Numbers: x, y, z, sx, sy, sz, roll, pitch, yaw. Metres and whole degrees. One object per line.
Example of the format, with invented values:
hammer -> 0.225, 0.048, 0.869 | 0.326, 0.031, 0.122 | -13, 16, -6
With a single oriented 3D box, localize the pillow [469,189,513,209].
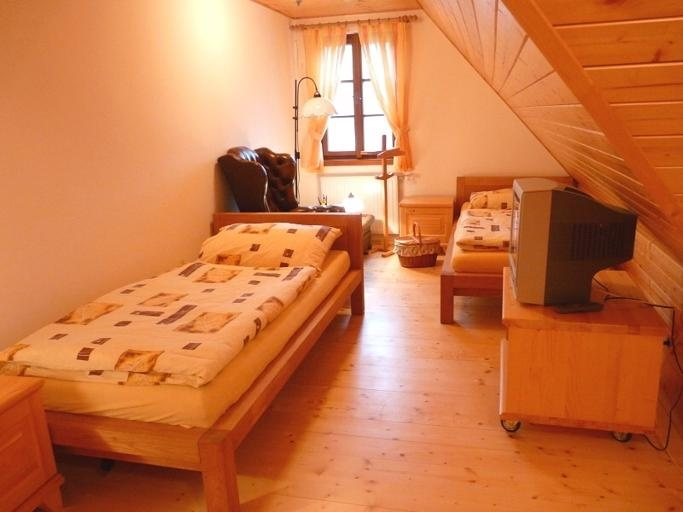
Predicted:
pillow -> 1.444, -0.544, 5.079 | 0.385, 0.107, 0.384 | 0, 18, 21

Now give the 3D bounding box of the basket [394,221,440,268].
basket -> 0.699, -0.106, 4.976 | 0.454, 0.354, 0.384 | -1, 10, 1

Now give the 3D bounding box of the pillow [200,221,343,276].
pillow -> -0.512, -0.064, 3.544 | 0.588, 0.133, 0.432 | 2, 27, 17

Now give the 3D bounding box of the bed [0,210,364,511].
bed -> -0.569, 0.297, 2.823 | 1.053, 0.651, 1.702 | 0, 18, 16

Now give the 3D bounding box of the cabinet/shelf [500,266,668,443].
cabinet/shelf -> 1.159, 0.510, 2.684 | 0.649, 0.539, 0.876 | 3, 10, 16

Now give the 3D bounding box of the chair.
chair -> -0.478, -0.646, 4.537 | 0.783, 0.826, 0.659 | 4, 23, 12

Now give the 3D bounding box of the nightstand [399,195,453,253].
nightstand -> 0.940, -0.396, 5.581 | 0.676, 0.616, 0.476 | 2, 11, 12
